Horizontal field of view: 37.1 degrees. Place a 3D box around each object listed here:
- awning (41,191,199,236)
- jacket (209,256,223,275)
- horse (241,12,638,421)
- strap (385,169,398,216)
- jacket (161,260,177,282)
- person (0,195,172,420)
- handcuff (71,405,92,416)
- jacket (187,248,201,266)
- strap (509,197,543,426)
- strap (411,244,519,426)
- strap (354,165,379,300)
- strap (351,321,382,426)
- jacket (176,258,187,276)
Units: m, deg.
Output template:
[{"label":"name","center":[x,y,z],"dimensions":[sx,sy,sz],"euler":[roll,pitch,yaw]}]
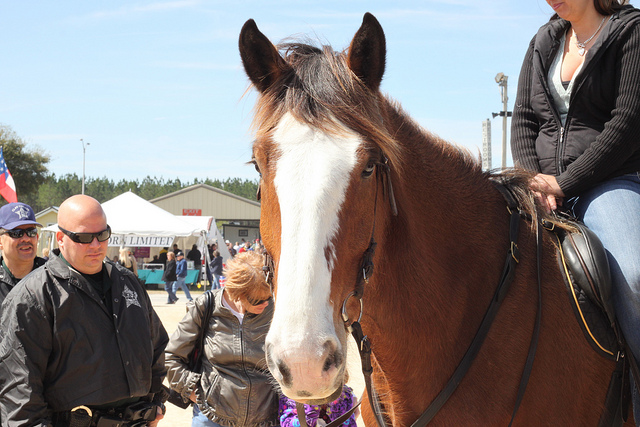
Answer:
[{"label":"awning","center":[-5.136,0.101,27.863],"dimensions":[2.554,1.233,3.688],"euler":[-1,-7,11]},{"label":"jacket","center":[-2.766,1.380,25.785],"dimensions":[0.296,0.499,0.566],"euler":[0,1,-10]},{"label":"horse","center":[0.781,0.057,7.370],"dimensions":[2.638,3.182,0.979],"euler":[0,1,-19]},{"label":"strap","center":[0.534,-0.142,7.212],"dimensions":[0.062,0.405,0.047],"euler":[-4,3,8]},{"label":"jacket","center":[-3.795,1.501,24.499],"dimensions":[0.400,0.581,0.584],"euler":[3,-9,-1]},{"label":"person","center":[-2.122,0.867,8.633],"dimensions":[1.469,2.032,0.707],"euler":[0,1,-30]},{"label":"handcuff","center":[-2.075,1.729,8.388],"dimensions":[0.175,0.091,0.039],"euler":[0,1,-16]},{"label":"jacket","center":[-3.775,1.290,29.058],"dimensions":[0.361,0.526,1.038],"euler":[0,1,-6]},{"label":"strap","center":[1.627,0.797,7.530],"dimensions":[0.274,1.694,0.088],"euler":[6,-11,-7]},{"label":"strap","center":[1.101,1.002,7.410],"dimensions":[0.188,1.469,0.180],"euler":[23,-16,5]},{"label":"strap","center":[0.349,0.261,7.043],"dimensions":[0.183,0.658,0.035],"euler":[5,5,34]},{"label":"strap","center":[0.350,1.139,7.213],"dimensions":[0.112,0.706,0.078],"euler":[-16,30,-8]},{"label":"jacket","center":[-3.533,1.405,24.795],"dimensions":[0.299,0.472,0.511],"euler":[3,-4,2]}]
